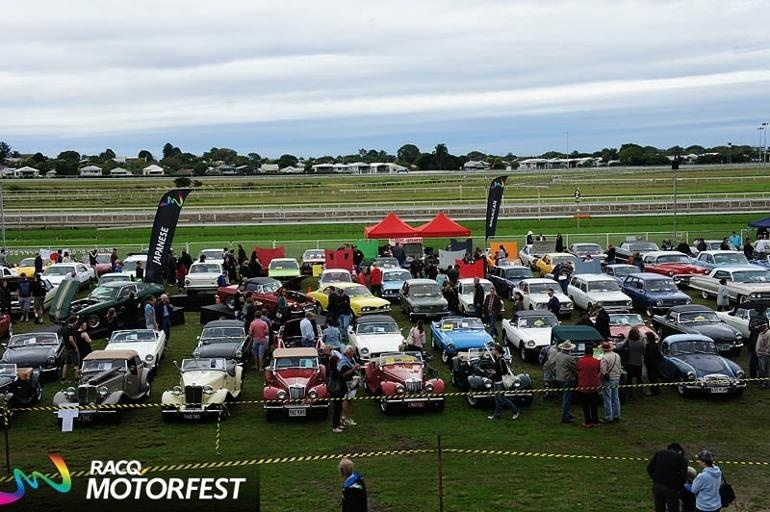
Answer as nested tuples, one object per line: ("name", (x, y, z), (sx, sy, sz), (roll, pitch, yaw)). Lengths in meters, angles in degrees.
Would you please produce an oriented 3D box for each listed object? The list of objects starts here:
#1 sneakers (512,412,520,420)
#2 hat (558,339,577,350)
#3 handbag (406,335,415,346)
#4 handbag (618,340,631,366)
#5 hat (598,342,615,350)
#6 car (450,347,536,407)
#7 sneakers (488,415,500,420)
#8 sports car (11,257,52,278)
("sneakers", (4.032, 4.914, 31.622), (0.142, 0.224, 0.140), (-8, -34, 28))
("hat", (5.596, 2.790, 31.707), (0.517, 0.124, 0.464), (0, 6, 8))
("handbag", (0.843, 2.814, 34.759), (0.308, 0.243, 0.276), (4, -3, -16))
("handbag", (7.647, 3.119, 32.923), (0.282, 0.967, 0.748), (-4, 5, 4))
("hat", (6.832, 2.753, 31.757), (0.490, 0.129, 0.431), (-3, 11, -2))
("car", (3.359, 3.653, 33.390), (2.075, 1.331, 3.435), (-5, 13, -7))
("sneakers", (3.331, 4.960, 31.614), (0.332, 0.116, 0.130), (1, 6, 34))
("sports car", (-17.223, 0.490, 49.837), (1.165, 0.645, 2.149), (0, 1, -8))
